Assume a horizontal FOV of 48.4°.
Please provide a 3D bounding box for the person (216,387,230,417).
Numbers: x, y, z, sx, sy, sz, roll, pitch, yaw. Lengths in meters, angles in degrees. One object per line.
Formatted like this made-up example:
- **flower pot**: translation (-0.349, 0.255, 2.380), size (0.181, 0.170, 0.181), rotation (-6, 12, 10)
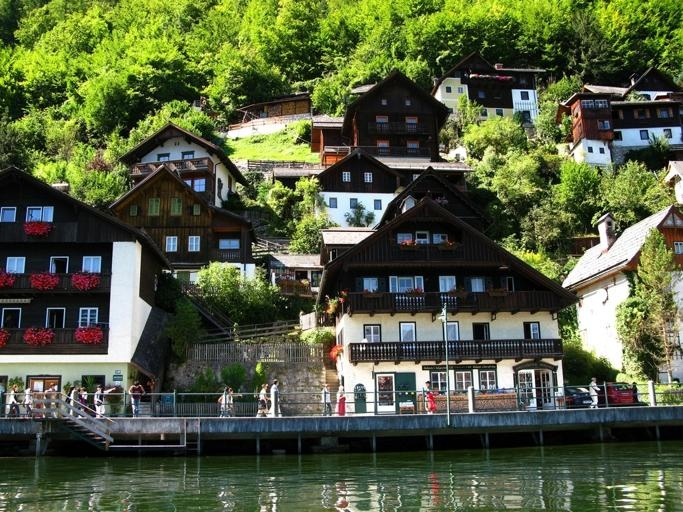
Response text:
- **person**: translation (-6.117, 7.636, 39.773), size (0.663, 1.603, 1.991), rotation (1, -16, -9)
